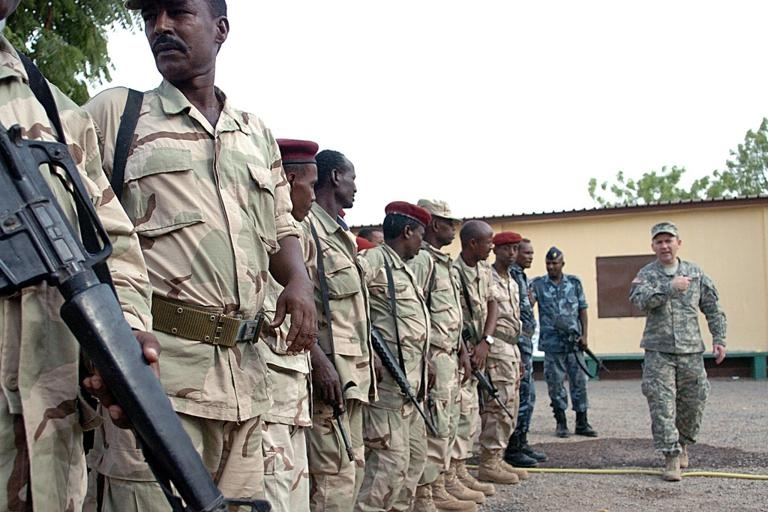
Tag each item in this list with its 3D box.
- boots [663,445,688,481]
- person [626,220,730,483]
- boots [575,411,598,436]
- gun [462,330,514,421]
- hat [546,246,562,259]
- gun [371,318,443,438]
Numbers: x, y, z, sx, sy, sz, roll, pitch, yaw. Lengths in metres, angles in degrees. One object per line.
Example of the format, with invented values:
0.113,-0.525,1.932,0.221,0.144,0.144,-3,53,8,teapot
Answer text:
3.123,2.189,7.481,0.210,0.399,0.588,-10,-12,14,boots
3.216,0.956,7.834,0.714,2.707,1.345,-4,-4,41,person
2.790,2.253,9.522,0.386,0.373,0.180,-3,-3,41,boots
1.079,1.278,7.467,0.179,1.023,0.403,-41,-12,10,gun
2.491,-0.038,10.411,0.179,0.128,0.257,-5,7,15,hat
0.161,0.988,5.674,0.161,0.998,0.357,-32,-4,-8,gun
